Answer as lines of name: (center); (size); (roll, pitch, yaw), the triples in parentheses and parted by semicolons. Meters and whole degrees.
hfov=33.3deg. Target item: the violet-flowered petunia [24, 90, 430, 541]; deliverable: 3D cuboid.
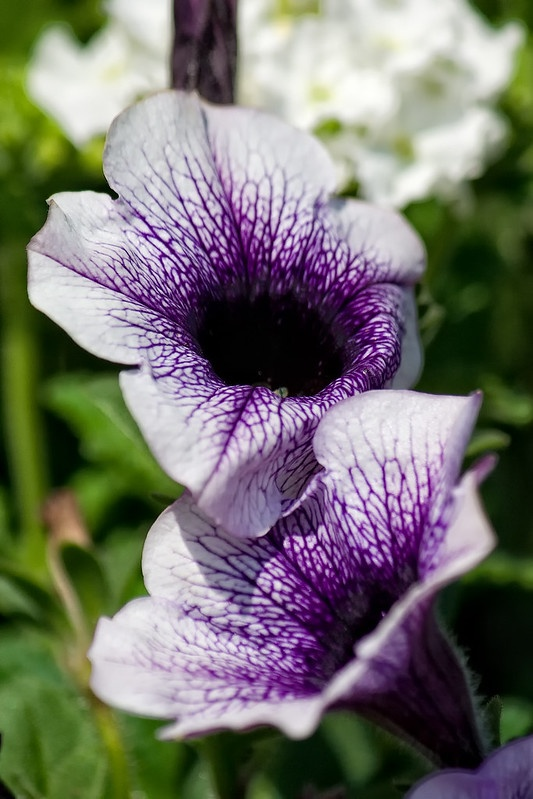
violet-flowered petunia: (0.003, -0.040, 0.565); (0.277, 0.118, 0.320); (27, -11, 0)

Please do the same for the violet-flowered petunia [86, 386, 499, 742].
violet-flowered petunia: (0.013, 0.079, 0.404); (0.172, 0.139, 0.148); (3, 29, 13)
